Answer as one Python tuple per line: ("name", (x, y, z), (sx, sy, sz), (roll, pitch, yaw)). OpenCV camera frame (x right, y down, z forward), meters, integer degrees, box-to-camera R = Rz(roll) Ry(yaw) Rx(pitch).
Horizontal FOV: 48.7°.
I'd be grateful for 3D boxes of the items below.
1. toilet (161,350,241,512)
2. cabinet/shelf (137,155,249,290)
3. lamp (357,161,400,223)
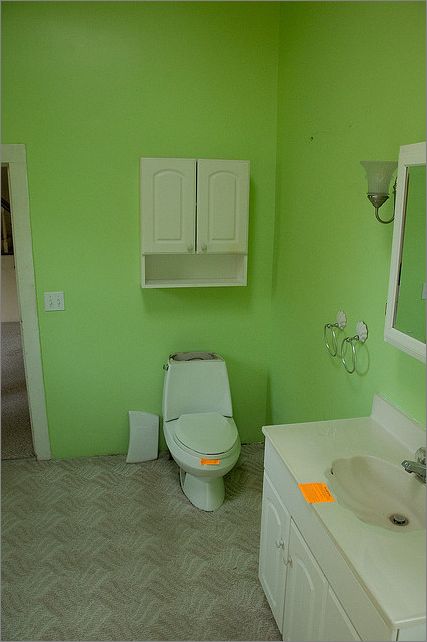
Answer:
("toilet", (-0.064, 0.619, 2.610), (0.354, 0.729, 0.658), (-2, 13, -13))
("cabinet/shelf", (-0.122, -0.553, 2.539), (0.647, 0.816, 0.254), (-1, 11, -10))
("lamp", (0.520, -0.392, 1.472), (0.110, 0.174, 0.098), (7, -5, -19))
